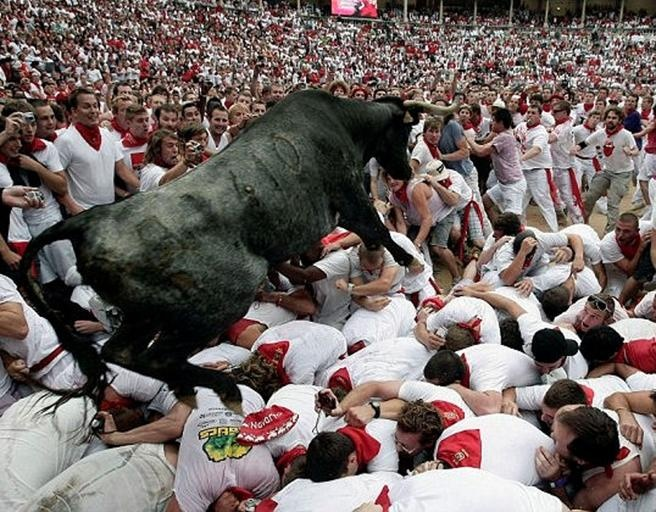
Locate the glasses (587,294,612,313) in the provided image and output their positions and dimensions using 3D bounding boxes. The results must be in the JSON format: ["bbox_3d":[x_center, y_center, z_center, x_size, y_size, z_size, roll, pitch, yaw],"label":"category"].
[{"bbox_3d":[2.717,0.455,7.468,0.174,0.213,0.061,13,75,28],"label":"glasses"}]

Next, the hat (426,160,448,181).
[{"bbox_3d":[1.355,-1.081,9.377,0.299,0.133,0.227,32,63,30],"label":"hat"}]

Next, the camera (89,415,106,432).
[{"bbox_3d":[-1.953,1.413,6.383,0.059,0.138,0.107,10,-30,-37],"label":"camera"}]

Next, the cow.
[{"bbox_3d":[-0.491,-0.264,6.407,1.142,1.950,4.426,23,42,37],"label":"cow"}]

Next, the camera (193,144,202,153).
[{"bbox_3d":[-1.195,-0.998,6.911,0.073,0.060,0.023,-7,-3,-7],"label":"camera"}]

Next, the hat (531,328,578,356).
[{"bbox_3d":[2.082,0.780,6.911,0.417,0.262,0.381,5,25,13],"label":"hat"}]
